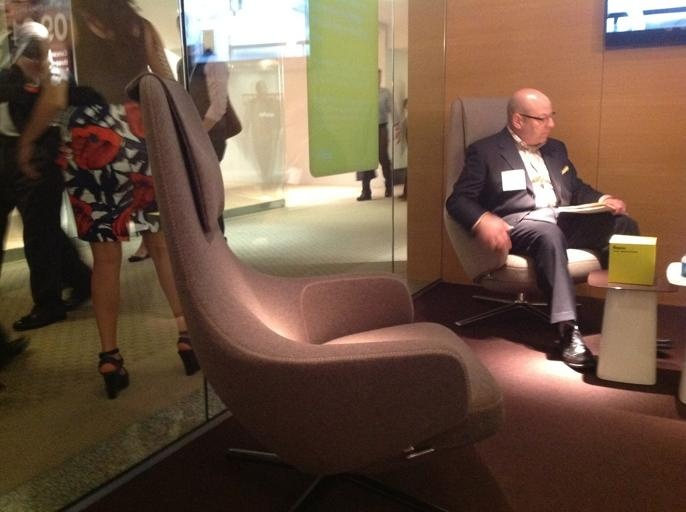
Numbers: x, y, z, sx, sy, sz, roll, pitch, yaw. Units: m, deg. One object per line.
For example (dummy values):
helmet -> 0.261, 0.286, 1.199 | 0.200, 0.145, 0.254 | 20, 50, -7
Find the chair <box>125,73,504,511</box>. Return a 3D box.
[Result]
chair -> -0.099, -0.055, 2.144 | 1.409, 1.562, 1.191 | -3, 16, -2

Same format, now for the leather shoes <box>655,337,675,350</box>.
leather shoes -> 1.851, 0.507, 3.033 | 0.099, 0.035, 0.142 | -2, 6, 13

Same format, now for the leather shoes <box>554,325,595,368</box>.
leather shoes -> 1.274, 0.483, 2.915 | 0.156, 0.177, 0.414 | -4, 3, 1

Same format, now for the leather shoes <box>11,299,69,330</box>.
leather shoes -> -0.987, 0.206, 1.730 | 0.043, 0.055, 0.132 | 9, 10, 30

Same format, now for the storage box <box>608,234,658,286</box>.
storage box -> 1.426, 0.015, 2.613 | 0.231, 0.239, 0.238 | 2, 3, 29

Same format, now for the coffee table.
coffee table -> 1.449, 0.317, 2.850 | 0.463, 0.575, 0.470 | 6, 17, 20

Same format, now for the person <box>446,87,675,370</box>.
person -> 1.350, -0.245, 3.212 | 0.979, 1.470, 1.308 | -11, 12, -36

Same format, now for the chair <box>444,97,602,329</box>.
chair -> 1.035, -0.369, 3.396 | 0.947, 1.284, 0.967 | 11, 23, 8
